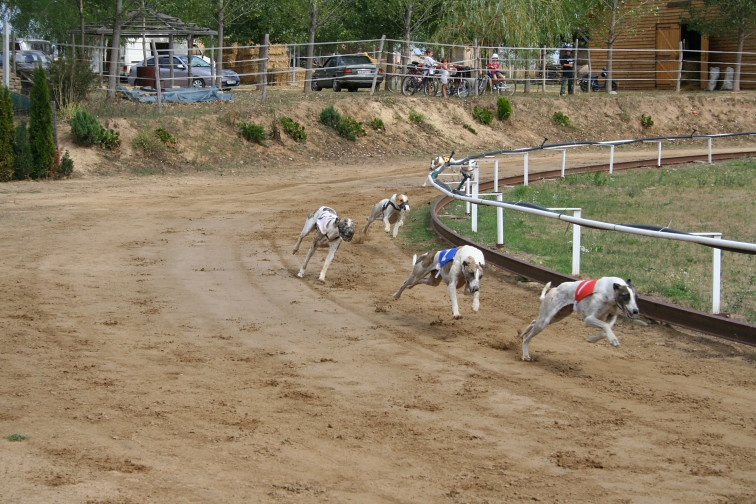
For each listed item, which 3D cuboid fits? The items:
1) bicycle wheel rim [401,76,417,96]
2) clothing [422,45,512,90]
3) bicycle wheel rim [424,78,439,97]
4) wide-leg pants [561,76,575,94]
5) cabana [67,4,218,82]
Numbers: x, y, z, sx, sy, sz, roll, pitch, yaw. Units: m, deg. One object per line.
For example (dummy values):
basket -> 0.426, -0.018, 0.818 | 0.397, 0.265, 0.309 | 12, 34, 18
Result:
bicycle wheel rim -> 1.321, -7.153, 45.157 | 0.833, 0.719, 0.273 | 3, 23, -25
clothing -> 3.875, -7.950, 46.796 | 3.530, 0.912, 2.452 | 4, 13, 7
bicycle wheel rim -> 2.259, -7.061, 45.060 | 0.798, 0.697, 0.222 | -17, 9, -37
wide-leg pants -> 8.849, -7.806, 49.267 | 0.530, 0.899, 1.096 | 6, 14, 38
cabana -> -9.895, -8.764, 44.421 | 6.051, 2.068, 5.560 | 3, 17, -2
